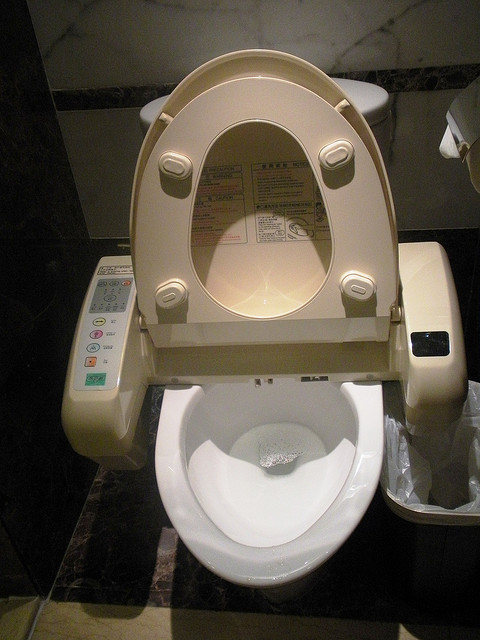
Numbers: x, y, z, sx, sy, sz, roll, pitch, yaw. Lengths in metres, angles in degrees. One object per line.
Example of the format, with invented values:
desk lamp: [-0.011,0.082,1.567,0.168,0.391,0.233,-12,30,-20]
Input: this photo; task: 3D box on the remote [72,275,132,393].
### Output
remote: [-0.228,-0.010,0.833,0.094,0.071,0.289,1,36,-7]
